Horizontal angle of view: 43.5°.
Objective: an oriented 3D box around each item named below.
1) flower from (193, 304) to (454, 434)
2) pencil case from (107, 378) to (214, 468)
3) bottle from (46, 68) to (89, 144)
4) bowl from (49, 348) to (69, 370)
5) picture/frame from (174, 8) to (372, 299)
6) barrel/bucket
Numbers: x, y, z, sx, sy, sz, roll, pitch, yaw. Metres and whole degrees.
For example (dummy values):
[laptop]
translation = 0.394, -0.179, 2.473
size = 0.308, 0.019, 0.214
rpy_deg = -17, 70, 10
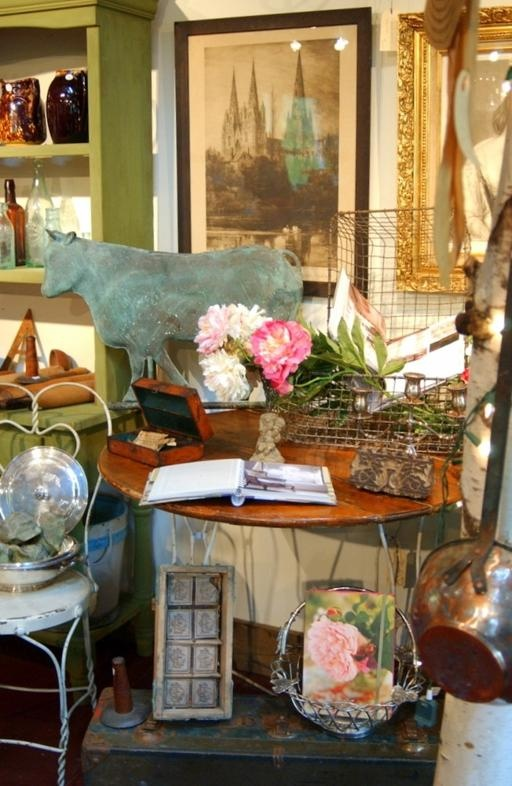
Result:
[flower]
translation = 0.120, -0.048, 1.224
size = 0.431, 0.193, 0.271
rpy_deg = 0, 6, -29
[pencil case]
translation = -0.197, 0.062, 1.400
size = 0.226, 0.201, 0.181
rpy_deg = 14, 17, 43
[bottle]
translation = -0.550, -0.829, 1.886
size = 0.124, 0.256, 0.069
rpy_deg = 5, 20, 9
[bowl]
translation = -0.691, -0.115, 2.236
size = 0.049, 0.072, 0.070
rpy_deg = 29, 19, 23
[picture/frame]
translation = 0.068, -0.687, 1.803
size = 0.582, 0.875, 0.047
rpy_deg = 3, 7, 10
[barrel/bucket]
translation = -0.514, 0.529, 2.061
size = 0.207, 0.317, 0.253
rpy_deg = 2, 8, 6
